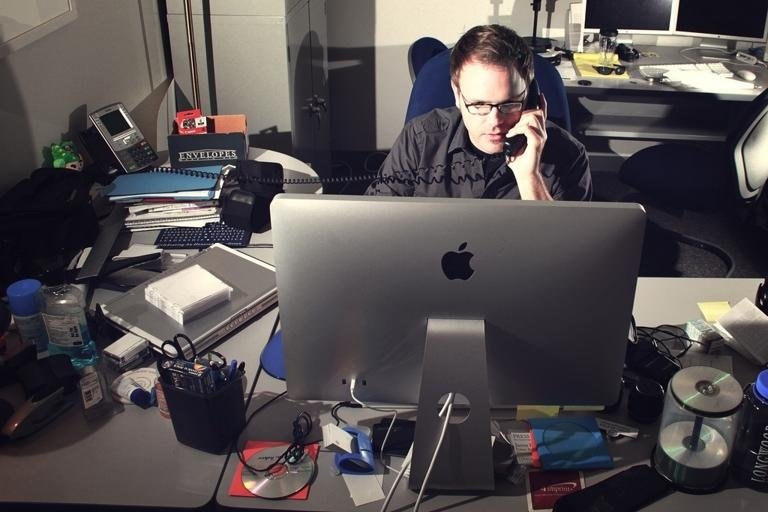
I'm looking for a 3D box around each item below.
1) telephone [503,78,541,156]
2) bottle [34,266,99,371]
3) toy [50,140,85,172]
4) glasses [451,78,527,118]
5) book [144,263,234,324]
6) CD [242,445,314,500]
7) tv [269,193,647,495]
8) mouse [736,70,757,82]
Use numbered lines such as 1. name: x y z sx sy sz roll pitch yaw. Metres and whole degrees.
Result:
1. telephone: 0.587 -0.581 2.510 0.158 0.295 0.102 4 12 -14
2. bottle: -1.058 0.213 2.050 0.180 0.297 0.166 8 24 -4
3. toy: -1.377 -0.441 2.624 0.126 0.078 0.152 3 36 -43
4. glasses: 0.463 -0.639 2.499 0.285 0.111 0.073 1 26 4
5. book: -0.701 0.126 2.143 0.206 0.051 0.202 27 41 28
6. CD: -0.310 0.632 1.761 0.199 0.009 0.213 13 30 27
7. tv: 0.196 0.227 1.660 0.990 0.747 0.248 0 25 3
8. mouse: 2.310 -1.170 3.837 0.078 0.040 0.126 2 32 6
